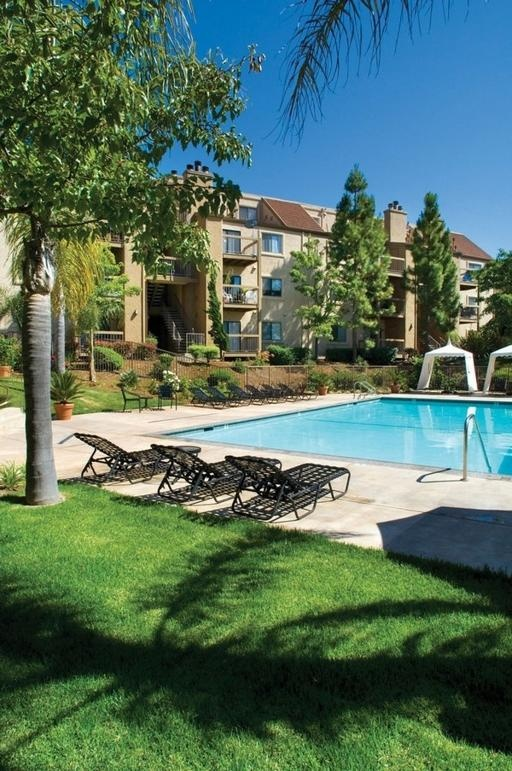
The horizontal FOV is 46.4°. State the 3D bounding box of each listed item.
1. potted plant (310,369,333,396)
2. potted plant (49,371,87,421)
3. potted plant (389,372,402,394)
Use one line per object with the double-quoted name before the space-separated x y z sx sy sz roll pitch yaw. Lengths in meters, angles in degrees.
"potted plant" 3.549 -0.143 31.138 1.190 1.368 1.132 1 -5 -19
"potted plant" -5.638 0.303 17.807 0.965 1.487 0.996 4 6 -8
"potted plant" 8.008 -0.179 34.118 0.663 1.234 1.592 4 -4 14
